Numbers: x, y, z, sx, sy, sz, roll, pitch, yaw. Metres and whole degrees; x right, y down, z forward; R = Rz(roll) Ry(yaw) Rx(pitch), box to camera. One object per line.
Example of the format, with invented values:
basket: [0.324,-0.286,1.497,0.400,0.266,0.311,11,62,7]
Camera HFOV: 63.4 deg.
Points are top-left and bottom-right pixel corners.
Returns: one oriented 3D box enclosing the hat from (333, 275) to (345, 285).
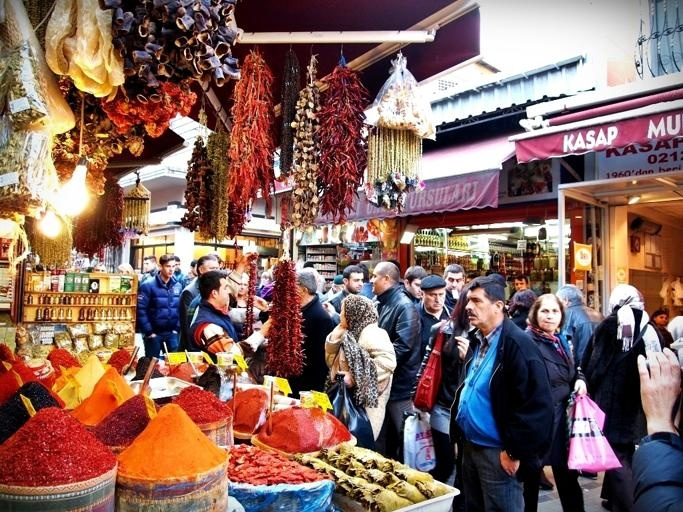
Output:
hat: [-0.040,0.288,7.258,0.096,0.143,0.106,0,-30,10]

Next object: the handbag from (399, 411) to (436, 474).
handbag: [0.624,1.407,4.270,0.303,0.585,0.184,-10,25,-1]

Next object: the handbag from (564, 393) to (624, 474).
handbag: [1.788,1.229,3.983,0.286,0.594,0.313,13,-23,-23]

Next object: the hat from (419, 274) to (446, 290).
hat: [0.863,0.256,5.303,0.166,0.083,0.219,0,5,6]

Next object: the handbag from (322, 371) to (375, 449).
handbag: [0.118,1.073,3.746,0.484,0.332,0.224,47,-28,-14]

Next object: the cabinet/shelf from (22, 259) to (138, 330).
cabinet/shelf: [-3.555,0.594,7.612,1.422,0.773,0.313,1,-2,-38]

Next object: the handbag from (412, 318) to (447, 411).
handbag: [0.703,0.892,4.429,0.178,0.766,0.493,12,-18,16]
